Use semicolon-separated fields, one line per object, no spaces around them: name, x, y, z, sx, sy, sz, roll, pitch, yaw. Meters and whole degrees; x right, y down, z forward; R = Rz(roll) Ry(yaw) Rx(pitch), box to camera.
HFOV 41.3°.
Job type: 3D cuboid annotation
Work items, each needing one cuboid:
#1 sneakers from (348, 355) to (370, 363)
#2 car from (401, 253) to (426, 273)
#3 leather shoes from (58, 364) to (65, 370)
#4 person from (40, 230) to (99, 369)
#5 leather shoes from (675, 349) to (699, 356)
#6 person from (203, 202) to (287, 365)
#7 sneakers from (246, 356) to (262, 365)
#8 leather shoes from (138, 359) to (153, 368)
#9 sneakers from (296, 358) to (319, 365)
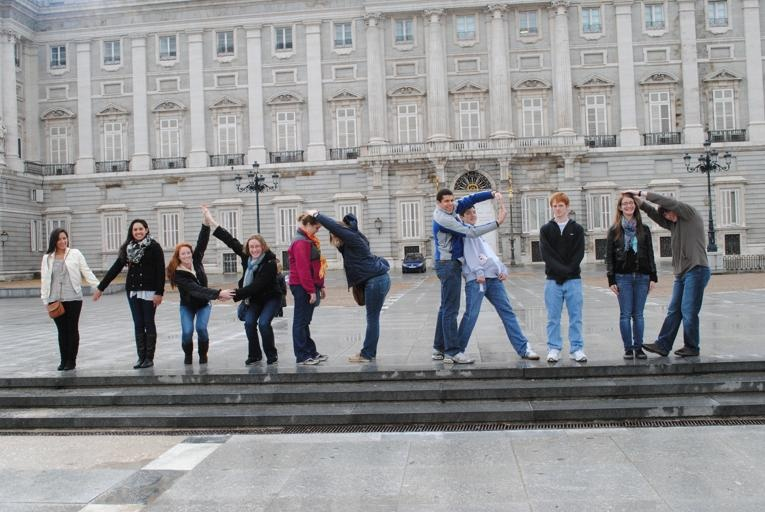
sneakers;-0.612;2.746;27.117;0.555;0.183;0.199;5;-8;1
car;1.827;0.400;58.039;1.234;0.822;2.462;-2;-3;7
leather shoes;-8.638;2.958;27.192;0.148;0.157;0.190;-6;5;-36
person;-8.552;1.128;27.496;1.286;3.767;1.077;-4;5;-17
leather shoes;8.050;2.528;26.661;0.641;0.218;0.211;2;-4;-4
person;-3.574;1.147;27.437;1.545;3.457;1.001;0;6;34
sneakers;-3.476;2.807;27.252;0.520;0.180;0.165;1;-3;-5
leather shoes;-6.315;2.856;27.147;0.345;0.223;0.200;-4;5;-23
sneakers;-2.008;2.781;27.032;0.541;0.206;0.188;-2;1;1
